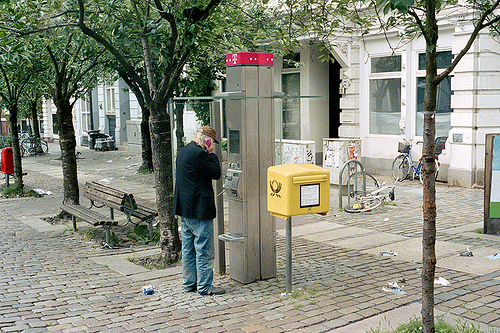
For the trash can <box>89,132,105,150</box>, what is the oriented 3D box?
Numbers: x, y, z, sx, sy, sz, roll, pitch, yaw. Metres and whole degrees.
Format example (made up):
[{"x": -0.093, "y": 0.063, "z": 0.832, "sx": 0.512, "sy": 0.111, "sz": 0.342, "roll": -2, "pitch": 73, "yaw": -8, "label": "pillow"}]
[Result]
[{"x": -9.478, "y": -1.678, "z": 30.133, "sx": 0.868, "sy": 0.989, "sz": 0.866, "roll": -2, "pitch": 3, "yaw": -20, "label": "trash can"}]

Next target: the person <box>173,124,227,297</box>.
[{"x": -0.810, "y": 0.688, "z": 7.605, "sx": 0.763, "sy": 2.576, "sz": 0.521, "roll": -3, "pitch": 7, "yaw": -5, "label": "person"}]

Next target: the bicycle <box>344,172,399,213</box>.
[{"x": 3.322, "y": 0.477, "z": 13.359, "sx": 1.185, "sy": 0.960, "sz": 3.450, "roll": 0, "pitch": 6, "yaw": 16, "label": "bicycle"}]

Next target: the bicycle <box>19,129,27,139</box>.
[{"x": -16.822, "y": -2.496, "z": 36.185, "sx": 0.461, "sy": 0.441, "sz": 15.139, "roll": -5, "pitch": 7, "yaw": -25, "label": "bicycle"}]

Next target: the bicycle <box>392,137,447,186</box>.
[{"x": 5.341, "y": -0.163, "z": 15.506, "sx": 0.955, "sy": 1.463, "sz": 2.372, "roll": 2, "pitch": 3, "yaw": -21, "label": "bicycle"}]

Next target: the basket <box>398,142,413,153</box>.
[{"x": 5.061, "y": -0.613, "z": 15.864, "sx": 0.284, "sy": 0.255, "sz": 0.325, "roll": 0, "pitch": 8, "yaw": -22, "label": "basket"}]

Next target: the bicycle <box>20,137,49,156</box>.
[{"x": -12.907, "y": -1.176, "z": 28.471, "sx": 1.816, "sy": 1.026, "sz": 0.868, "roll": 1, "pitch": 2, "yaw": 4, "label": "bicycle"}]

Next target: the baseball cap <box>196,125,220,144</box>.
[{"x": -0.648, "y": -0.506, "z": 7.845, "sx": 0.269, "sy": 0.298, "sz": 0.458, "roll": 2, "pitch": 7, "yaw": 27, "label": "baseball cap"}]
